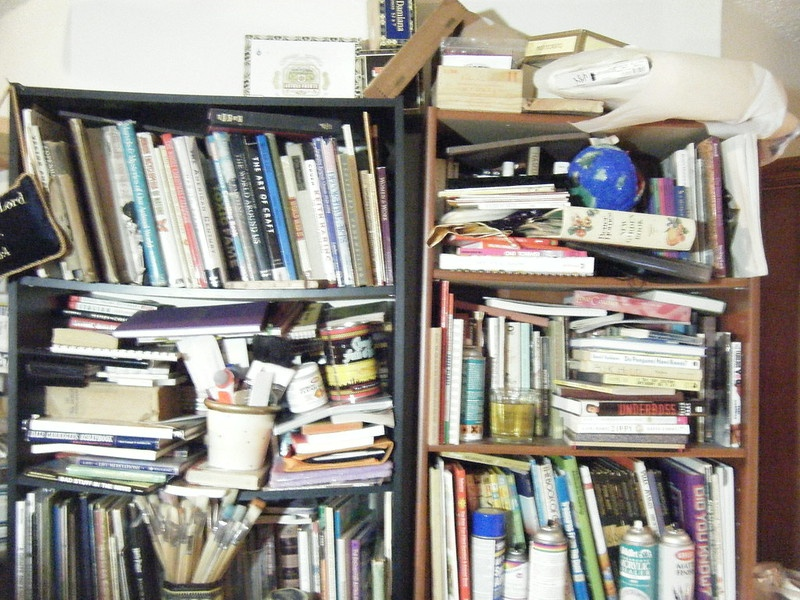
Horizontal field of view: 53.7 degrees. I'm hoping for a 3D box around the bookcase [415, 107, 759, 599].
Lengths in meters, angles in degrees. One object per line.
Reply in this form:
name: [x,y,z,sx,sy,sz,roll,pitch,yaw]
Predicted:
bookcase: [0.514,0.147,2.172,0.921,1.357,0.703,0,21,12]
